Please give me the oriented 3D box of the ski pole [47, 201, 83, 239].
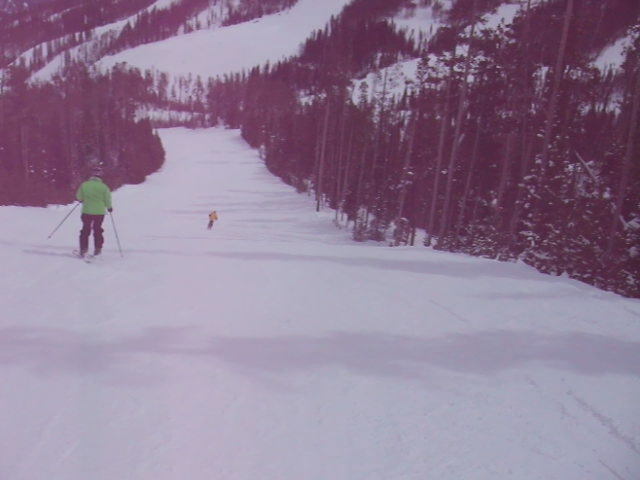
[{"bbox_3d":[-10.227,-0.769,22.918,0.078,2.244,0.090,36,-20,-3],"label":"ski pole"}]
